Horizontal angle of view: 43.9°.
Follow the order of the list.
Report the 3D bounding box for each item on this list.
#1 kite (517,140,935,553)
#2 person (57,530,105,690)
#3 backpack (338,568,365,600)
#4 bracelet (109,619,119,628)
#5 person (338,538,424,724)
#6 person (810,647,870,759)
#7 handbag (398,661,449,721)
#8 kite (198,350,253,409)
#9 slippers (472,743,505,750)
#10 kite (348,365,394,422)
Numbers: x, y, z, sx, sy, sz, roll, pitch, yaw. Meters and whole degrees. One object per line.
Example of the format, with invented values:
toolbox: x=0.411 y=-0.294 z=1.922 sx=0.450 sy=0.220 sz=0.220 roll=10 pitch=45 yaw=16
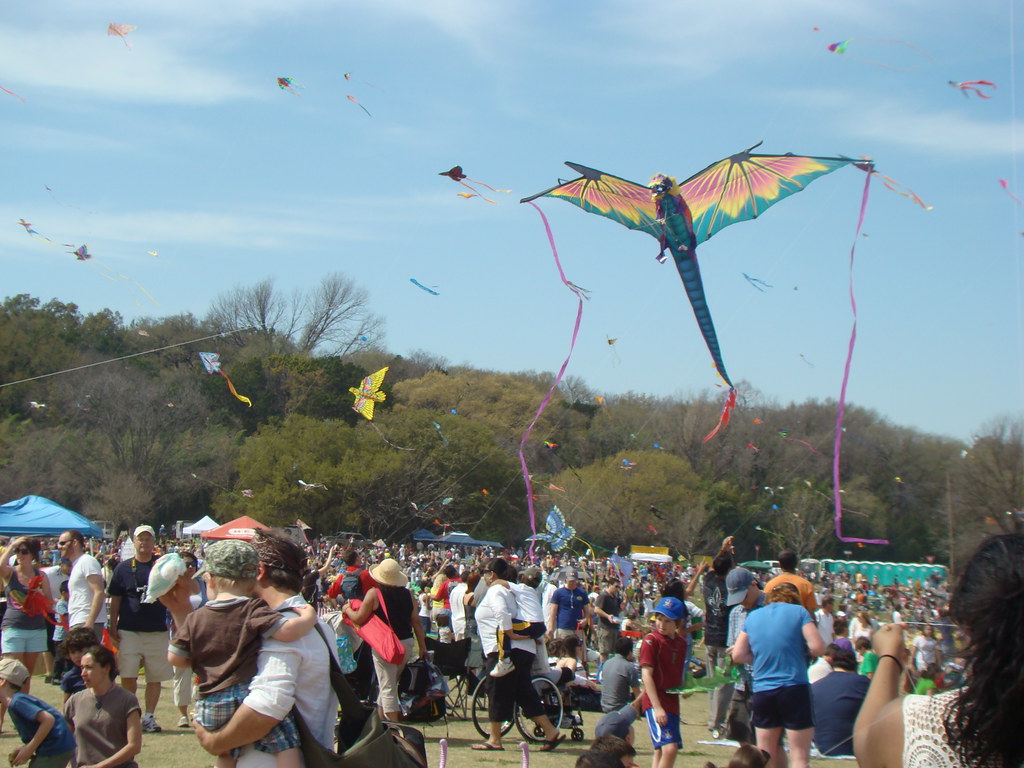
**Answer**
kite: x=2.317 y=-1.431 z=16.113 sx=3.305 sy=2.835 sz=0.995 roll=1 pitch=-6 yaw=24
person: x=-4.740 y=2.475 z=13.856 sx=0.805 sy=1.795 sz=0.478 roll=-3 pitch=1 yaw=36
backpack: x=-1.801 y=2.238 z=14.276 sx=0.313 sy=0.480 sz=0.246 roll=0 pitch=-33 yaw=-2
bracelet: x=-4.319 y=2.576 z=13.729 sx=0.077 sy=0.079 sz=0.124 roll=-1 pitch=-12 yaw=-21
person: x=-1.421 y=2.627 z=13.646 sx=0.600 sy=1.823 sz=0.762 roll=4 pitch=-10 yaw=-17
person: x=3.228 y=3.170 z=12.907 sx=0.689 sy=1.472 sz=0.729 roll=-2 pitch=-4 yaw=11
handbag: x=-0.941 y=3.378 z=14.116 sx=0.512 sy=0.556 sz=0.404 roll=16 pitch=-17 yaw=-12
kite: x=-11.170 y=-0.083 z=49.455 sx=3.136 sy=0.799 sz=0.231 roll=46 pitch=25 yaw=15
slippers: x=-0.276 y=3.938 z=13.767 sx=0.282 sy=0.072 sz=0.118 roll=7 pitch=-16 yaw=-3
kite: x=-3.794 y=0.201 z=33.500 sx=0.983 sy=1.850 sz=0.158 roll=3 pitch=35 yaw=-22
